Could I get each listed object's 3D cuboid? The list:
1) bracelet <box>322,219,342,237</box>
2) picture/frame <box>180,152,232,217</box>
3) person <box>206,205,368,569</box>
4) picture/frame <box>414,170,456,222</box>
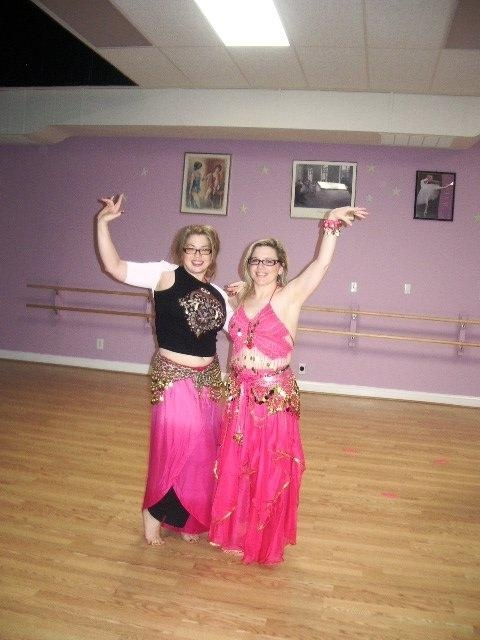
[{"bbox_3d":[0.330,-0.321,1.717,0.056,0.064,0.041,1,-2,-4],"label":"bracelet"},{"bbox_3d":[-0.403,-1.746,6.046,0.763,0.920,0.060,4,9,9],"label":"picture/frame"},{"bbox_3d":[0.156,0.256,1.836,0.471,1.368,0.289,4,4,11],"label":"person"},{"bbox_3d":[2.295,-1.464,5.584,0.581,0.714,0.049,1,6,5],"label":"picture/frame"}]
